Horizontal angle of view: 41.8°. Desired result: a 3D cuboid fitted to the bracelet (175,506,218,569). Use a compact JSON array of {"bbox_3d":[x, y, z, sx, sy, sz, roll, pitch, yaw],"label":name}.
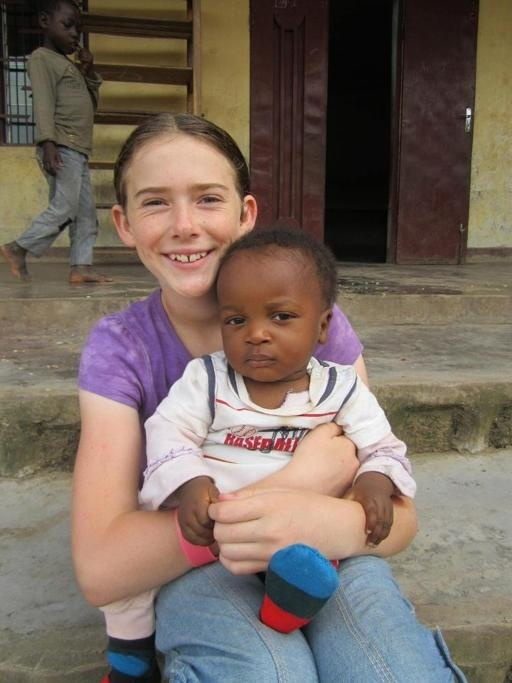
[{"bbox_3d":[-0.121,0.365,1.249,0.092,0.097,0.087,13,-34,-38],"label":"bracelet"}]
